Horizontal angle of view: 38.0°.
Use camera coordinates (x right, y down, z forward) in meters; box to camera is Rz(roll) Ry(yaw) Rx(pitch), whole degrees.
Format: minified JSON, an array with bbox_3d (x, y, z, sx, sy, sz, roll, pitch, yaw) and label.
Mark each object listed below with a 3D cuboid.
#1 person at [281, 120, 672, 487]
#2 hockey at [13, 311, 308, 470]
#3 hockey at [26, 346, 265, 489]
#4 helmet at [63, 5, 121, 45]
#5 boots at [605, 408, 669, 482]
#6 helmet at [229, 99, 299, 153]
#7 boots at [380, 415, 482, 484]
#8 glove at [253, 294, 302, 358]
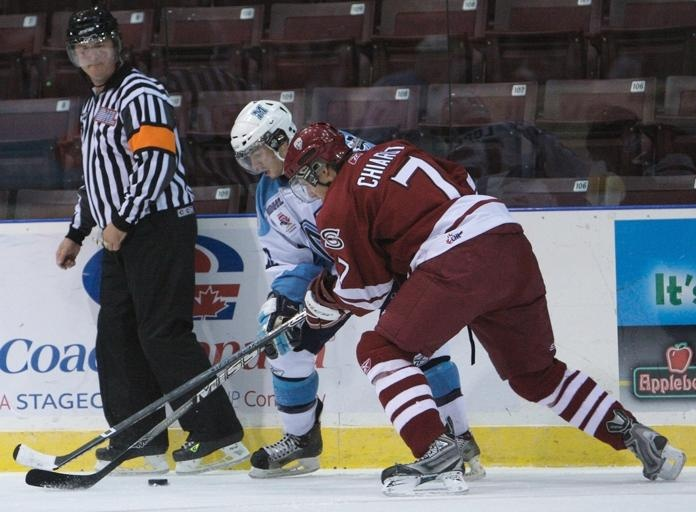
[{"bbox_3d":[0.480,0.179,4.294,1.473,1.475,0.589,-1,9,-7],"label":"person"},{"bbox_3d":[-0.849,0.671,4.853,1.118,0.105,0.331,-30,0,-11],"label":"hockey"},{"bbox_3d":[-0.927,0.790,4.823,0.886,0.147,0.154,-36,47,-13],"label":"hockey"},{"bbox_3d":[-1.230,-1.113,4.913,0.202,0.194,0.226,-12,-10,22],"label":"helmet"},{"bbox_3d":[1.234,0.805,4.282,0.310,0.208,0.136,38,9,24],"label":"boots"},{"bbox_3d":[-0.408,-0.630,4.751,0.310,0.254,0.232,-8,-10,-26],"label":"helmet"},{"bbox_3d":[0.327,0.827,4.272,0.617,0.308,0.208,-2,-6,-7],"label":"boots"},{"bbox_3d":[-0.330,0.323,4.670,0.118,0.265,0.216,10,-12,-36],"label":"glove"}]
